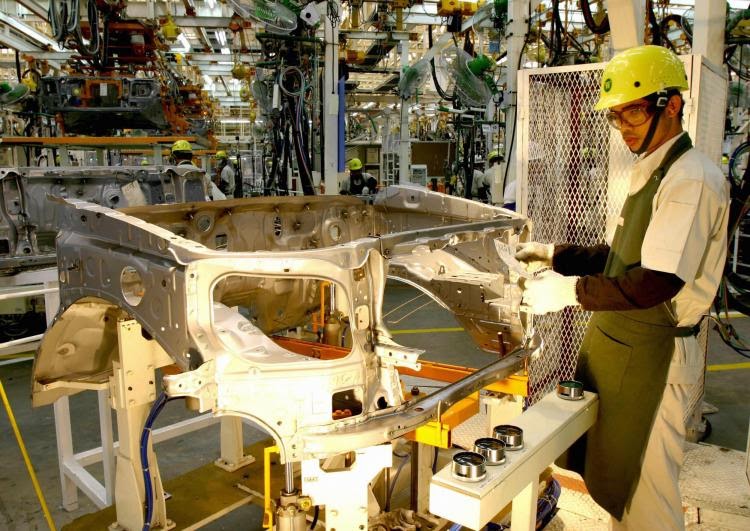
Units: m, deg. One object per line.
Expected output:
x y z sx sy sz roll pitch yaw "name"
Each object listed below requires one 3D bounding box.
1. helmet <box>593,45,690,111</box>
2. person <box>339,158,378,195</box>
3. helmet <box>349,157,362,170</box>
1.452 -1.035 3.476 0.550 0.310 0.386 -10 12 -17 "helmet"
-0.293 -1.667 11.727 0.598 0.633 1.243 -4 9 0 "person"
-0.333 -1.945 11.864 0.298 0.267 0.420 -4 6 -12 "helmet"
